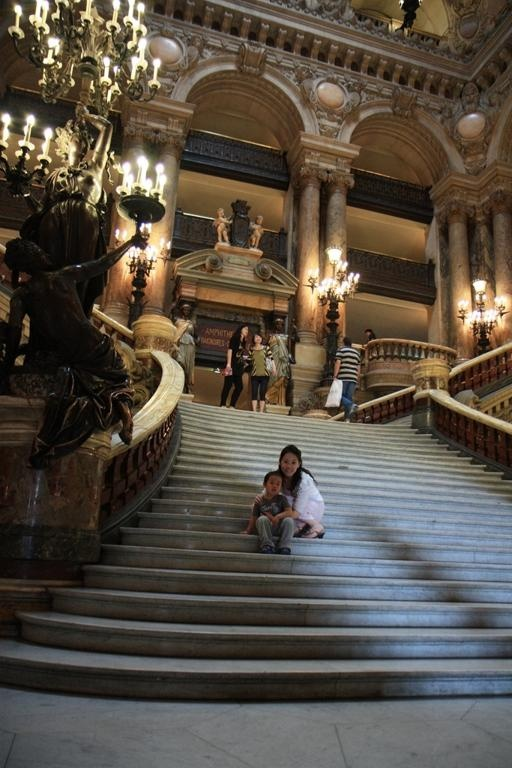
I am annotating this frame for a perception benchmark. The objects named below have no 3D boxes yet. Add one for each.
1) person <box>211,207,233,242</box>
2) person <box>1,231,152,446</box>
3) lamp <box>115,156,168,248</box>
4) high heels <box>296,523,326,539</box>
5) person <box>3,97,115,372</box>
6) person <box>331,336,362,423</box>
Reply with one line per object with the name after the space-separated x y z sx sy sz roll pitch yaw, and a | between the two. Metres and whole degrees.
-0.960 -4.557 15.511 0.521 1.023 0.803 5 9 -27 | person
-1.114 -0.274 3.224 0.872 1.398 0.594 6 8 -21 | person
-0.933 -1.314 4.200 0.307 0.272 0.858 13 -44 -15 | lamp
0.416 1.137 4.013 0.218 0.081 0.096 26 -34 -26 | high heels
-1.282 -1.089 3.488 0.517 1.616 0.498 -4 -20 7 | person
1.740 -0.090 10.268 0.498 1.566 1.248 10 8 8 | person
